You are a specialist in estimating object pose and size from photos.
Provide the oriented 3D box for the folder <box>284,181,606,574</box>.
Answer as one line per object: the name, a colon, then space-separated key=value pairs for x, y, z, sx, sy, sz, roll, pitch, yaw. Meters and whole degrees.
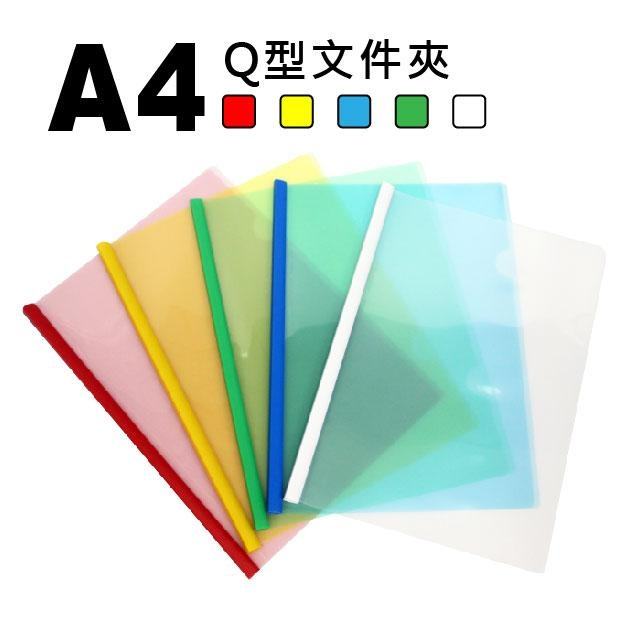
folder: x=0.366 y=0.130 z=2.032 sx=0.881 sy=1.064 sz=0.126 roll=3 pitch=-18 yaw=2
